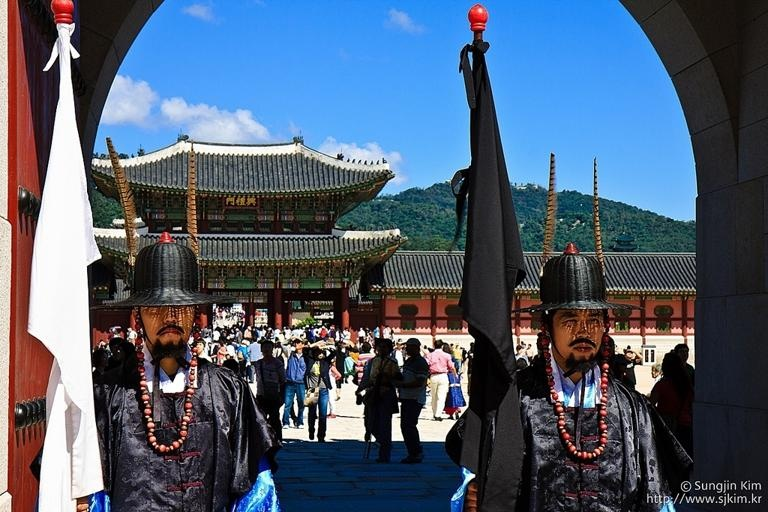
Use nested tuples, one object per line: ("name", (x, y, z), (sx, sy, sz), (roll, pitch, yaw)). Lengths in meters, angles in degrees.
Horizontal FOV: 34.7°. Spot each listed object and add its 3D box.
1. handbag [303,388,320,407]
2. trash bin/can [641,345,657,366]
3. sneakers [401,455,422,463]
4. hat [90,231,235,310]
("handbag", (-0.930, 1.809, 15.889), (0.248, 0.228, 0.104), (-10, -22, 34))
("trash bin/can", (8.533, 3.117, 39.314), (0.578, 0.714, 0.523), (-1, 1, 1))
("sneakers", (0.312, 2.267, 13.804), (0.206, 0.078, 0.085), (4, -2, 0))
("hat", (-1.436, 0.133, 8.273), (0.595, 0.330, 0.563), (-2, -6, -2))
